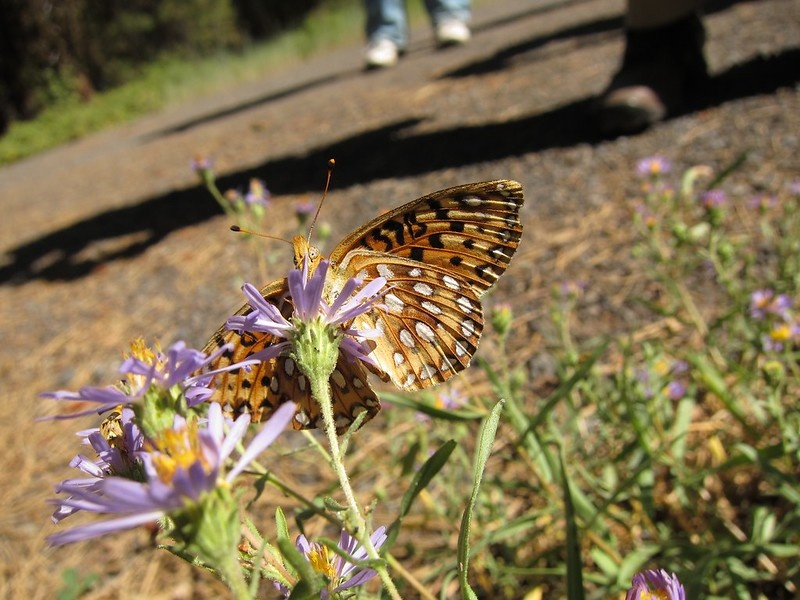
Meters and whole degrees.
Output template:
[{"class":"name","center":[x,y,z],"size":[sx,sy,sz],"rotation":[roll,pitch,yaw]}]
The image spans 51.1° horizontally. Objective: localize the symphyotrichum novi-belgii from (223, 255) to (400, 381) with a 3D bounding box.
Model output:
[{"class":"symphyotrichum novi-belgii","center":[-0.247,0.070,2.739],"size":[0.361,0.184,0.392],"rotation":[11,12,-35]}]

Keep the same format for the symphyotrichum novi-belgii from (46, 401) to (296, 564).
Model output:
[{"class":"symphyotrichum novi-belgii","center":[-0.680,0.474,2.431],"size":[0.508,0.175,0.502],"rotation":[-46,-10,20]}]

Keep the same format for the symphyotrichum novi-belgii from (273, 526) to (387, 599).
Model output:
[{"class":"symphyotrichum novi-belgii","center":[-0.205,0.854,2.698],"size":[0.259,0.117,0.284],"rotation":[-33,7,11]}]
